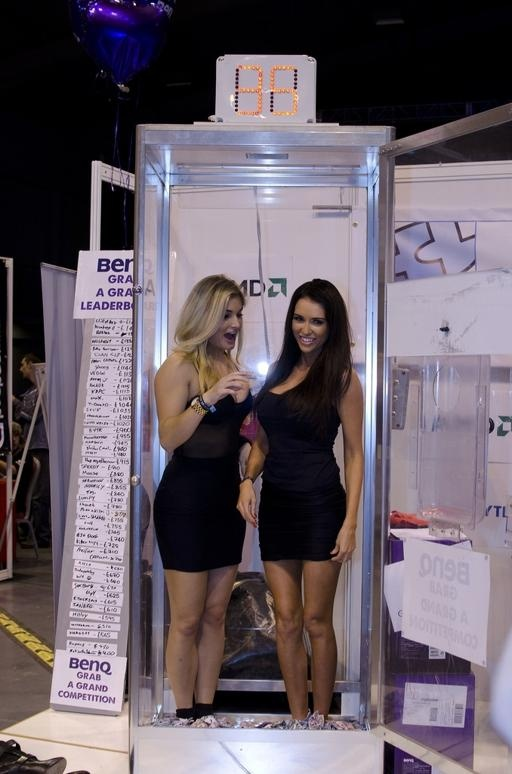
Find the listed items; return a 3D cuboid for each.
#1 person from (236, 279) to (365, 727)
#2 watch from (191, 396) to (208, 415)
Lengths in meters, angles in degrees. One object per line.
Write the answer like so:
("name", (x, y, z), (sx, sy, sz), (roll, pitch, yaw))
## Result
("person", (0.129, 0.317, 2.194), (0.368, 1.287, 0.244), (3, 0, 10))
("watch", (-0.160, 0.053, 2.115), (0.040, 0.035, 0.054), (34, 21, -51))
